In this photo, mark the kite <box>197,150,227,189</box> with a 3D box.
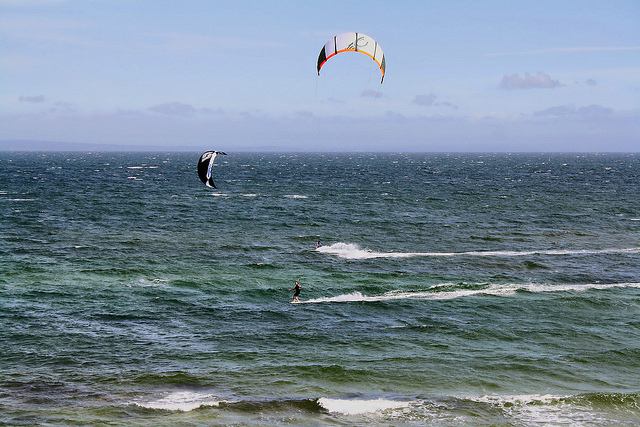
[{"bbox_3d":[-13.173,-5.319,135.193,2.126,4.244,3.414,3,7,-6],"label":"kite"}]

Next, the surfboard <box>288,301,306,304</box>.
[{"bbox_3d":[-2.703,10.384,134.631,2.091,0.376,0.248,-3,-8,2],"label":"surfboard"}]
